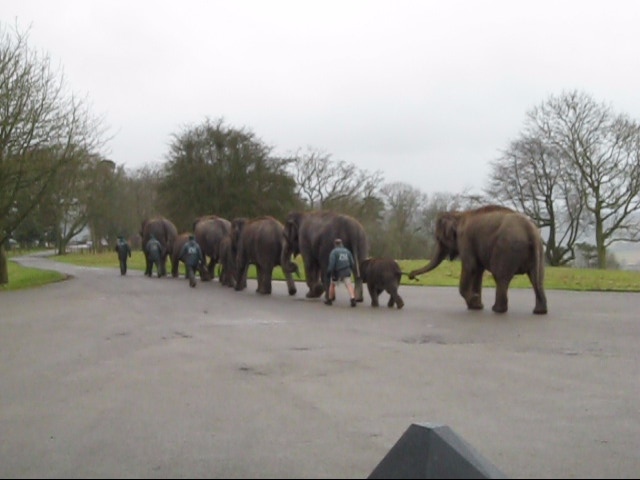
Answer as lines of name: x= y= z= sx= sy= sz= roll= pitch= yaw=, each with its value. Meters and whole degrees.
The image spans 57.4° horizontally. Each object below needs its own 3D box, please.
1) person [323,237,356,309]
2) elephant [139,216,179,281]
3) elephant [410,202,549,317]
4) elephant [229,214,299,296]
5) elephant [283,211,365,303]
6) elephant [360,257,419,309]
person: x=0.590 y=0.947 z=16.784 sx=0.815 sy=1.896 sz=1.335 roll=0 pitch=0 yaw=-1
elephant: x=-8.513 y=0.332 z=31.371 sx=1.795 sy=3.232 sz=4.499 roll=0 pitch=0 yaw=-17
elephant: x=4.686 y=0.482 z=16.139 sx=1.297 sy=2.895 sz=4.321 roll=0 pitch=0 yaw=-14
elephant: x=-2.586 y=0.532 z=22.968 sx=1.334 sy=2.991 sz=4.606 roll=-1 pitch=2 yaw=-37
elephant: x=-0.074 y=0.516 z=19.522 sx=1.079 sy=2.949 sz=4.108 roll=-5 pitch=3 yaw=-37
elephant: x=1.688 y=1.207 z=16.866 sx=0.800 sy=1.482 sz=2.159 roll=-7 pitch=6 yaw=-36
